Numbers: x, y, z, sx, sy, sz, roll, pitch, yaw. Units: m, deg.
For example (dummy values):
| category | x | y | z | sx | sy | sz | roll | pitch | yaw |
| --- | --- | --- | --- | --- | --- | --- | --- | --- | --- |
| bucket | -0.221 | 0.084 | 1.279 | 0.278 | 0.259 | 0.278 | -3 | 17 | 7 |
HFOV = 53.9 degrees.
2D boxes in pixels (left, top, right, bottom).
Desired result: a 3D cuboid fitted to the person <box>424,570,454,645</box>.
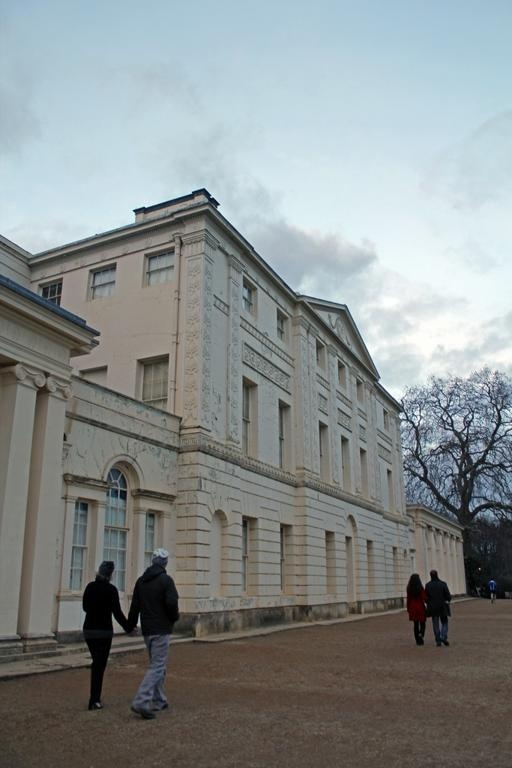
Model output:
| category | x | y | z | sx | sy | sz | roll | pitch | yaw |
| --- | --- | --- | --- | --- | --- | --- | --- | --- | --- |
| person | 4.585 | 5.587 | 12.571 | 0.563 | 1.758 | 1.840 | -7 | -17 | 18 |

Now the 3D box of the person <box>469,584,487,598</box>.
| category | x | y | z | sx | sy | sz | roll | pitch | yaw |
| --- | --- | --- | --- | --- | --- | --- | --- | --- | --- |
| person | 26.687 | 24.581 | 59.853 | 1.833 | 1.281 | 1.202 | -6 | -16 | 12 |

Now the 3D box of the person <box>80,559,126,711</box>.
| category | x | y | z | sx | sy | sz | roll | pitch | yaw |
| --- | --- | --- | --- | --- | --- | --- | --- | --- | --- |
| person | -1.585 | 2.571 | 5.211 | 0.430 | 1.394 | 1.398 | 2 | -17 | -16 |

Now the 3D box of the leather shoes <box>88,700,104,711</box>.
| category | x | y | z | sx | sy | sz | roll | pitch | yaw |
| --- | --- | --- | --- | --- | --- | --- | --- | --- | --- |
| leather shoes | -1.553 | 3.106 | 4.916 | 0.063 | 0.063 | 0.135 | 0 | -9 | 11 |

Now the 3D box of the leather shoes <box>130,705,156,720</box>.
| category | x | y | z | sx | sy | sz | roll | pitch | yaw |
| --- | --- | --- | --- | --- | --- | --- | --- | --- | --- |
| leather shoes | -1.011 | 2.912 | 4.514 | 0.210 | 0.121 | 0.302 | 2 | -18 | -13 |

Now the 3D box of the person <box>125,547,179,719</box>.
| category | x | y | z | sx | sy | sz | roll | pitch | yaw |
| --- | --- | --- | --- | --- | --- | --- | --- | --- | --- |
| person | -1.002 | 2.373 | 4.850 | 0.467 | 1.486 | 0.663 | 2 | -15 | -14 |
